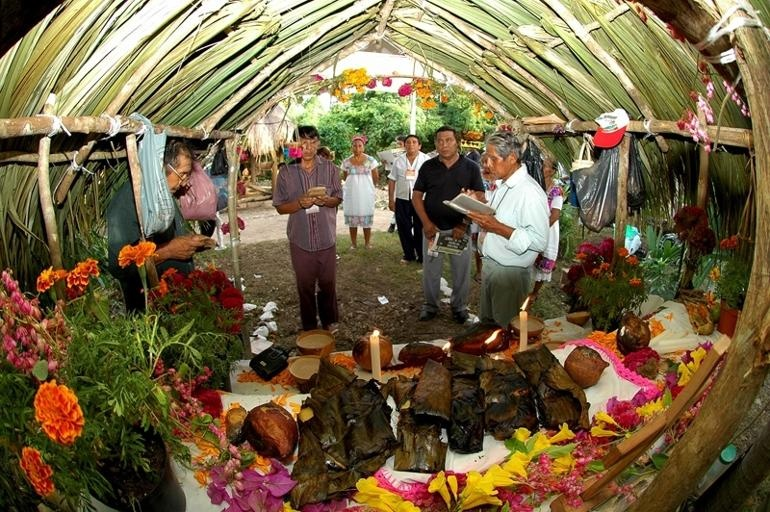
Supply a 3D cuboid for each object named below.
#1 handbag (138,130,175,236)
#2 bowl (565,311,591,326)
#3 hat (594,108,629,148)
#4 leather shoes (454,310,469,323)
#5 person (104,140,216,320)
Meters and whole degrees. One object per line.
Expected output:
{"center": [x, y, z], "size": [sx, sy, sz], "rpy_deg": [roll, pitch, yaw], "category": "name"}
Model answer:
{"center": [-1.585, -0.500, 3.472], "size": [0.150, 0.705, 0.246], "rpy_deg": [3, 9, 33], "category": "handbag"}
{"center": [1.724, 0.543, 4.499], "size": [0.135, 0.096, 0.139], "rpy_deg": [-2, 15, 1], "category": "bowl"}
{"center": [1.962, -1.070, 4.363], "size": [0.213, 0.325, 0.105], "rpy_deg": [25, 7, 42], "category": "hat"}
{"center": [0.878, 0.700, 5.757], "size": [0.169, 0.103, 0.180], "rpy_deg": [5, -28, -8], "category": "leather shoes"}
{"center": [-1.583, -0.177, 3.488], "size": [0.555, 1.115, 0.762], "rpy_deg": [5, 42, -5], "category": "person"}
